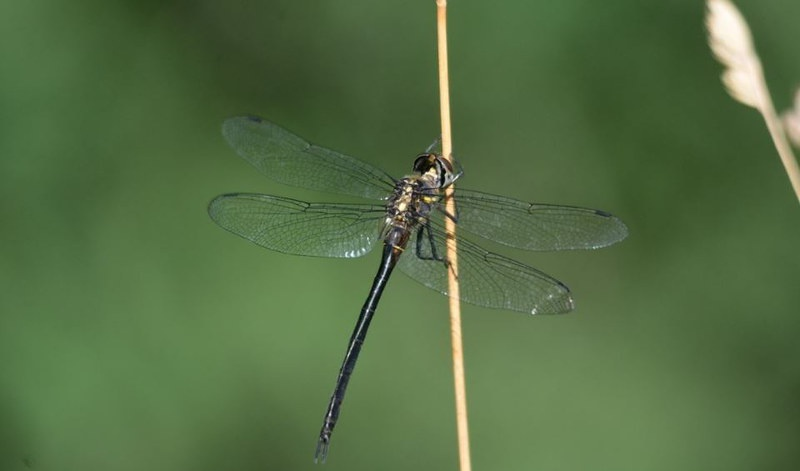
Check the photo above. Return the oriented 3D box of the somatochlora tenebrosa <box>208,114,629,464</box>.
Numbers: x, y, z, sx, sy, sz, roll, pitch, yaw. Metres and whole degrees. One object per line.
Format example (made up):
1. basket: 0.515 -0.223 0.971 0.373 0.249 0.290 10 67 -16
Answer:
1. somatochlora tenebrosa: -0.076 0.140 2.625 1.363 1.233 0.306 17 -23 16
